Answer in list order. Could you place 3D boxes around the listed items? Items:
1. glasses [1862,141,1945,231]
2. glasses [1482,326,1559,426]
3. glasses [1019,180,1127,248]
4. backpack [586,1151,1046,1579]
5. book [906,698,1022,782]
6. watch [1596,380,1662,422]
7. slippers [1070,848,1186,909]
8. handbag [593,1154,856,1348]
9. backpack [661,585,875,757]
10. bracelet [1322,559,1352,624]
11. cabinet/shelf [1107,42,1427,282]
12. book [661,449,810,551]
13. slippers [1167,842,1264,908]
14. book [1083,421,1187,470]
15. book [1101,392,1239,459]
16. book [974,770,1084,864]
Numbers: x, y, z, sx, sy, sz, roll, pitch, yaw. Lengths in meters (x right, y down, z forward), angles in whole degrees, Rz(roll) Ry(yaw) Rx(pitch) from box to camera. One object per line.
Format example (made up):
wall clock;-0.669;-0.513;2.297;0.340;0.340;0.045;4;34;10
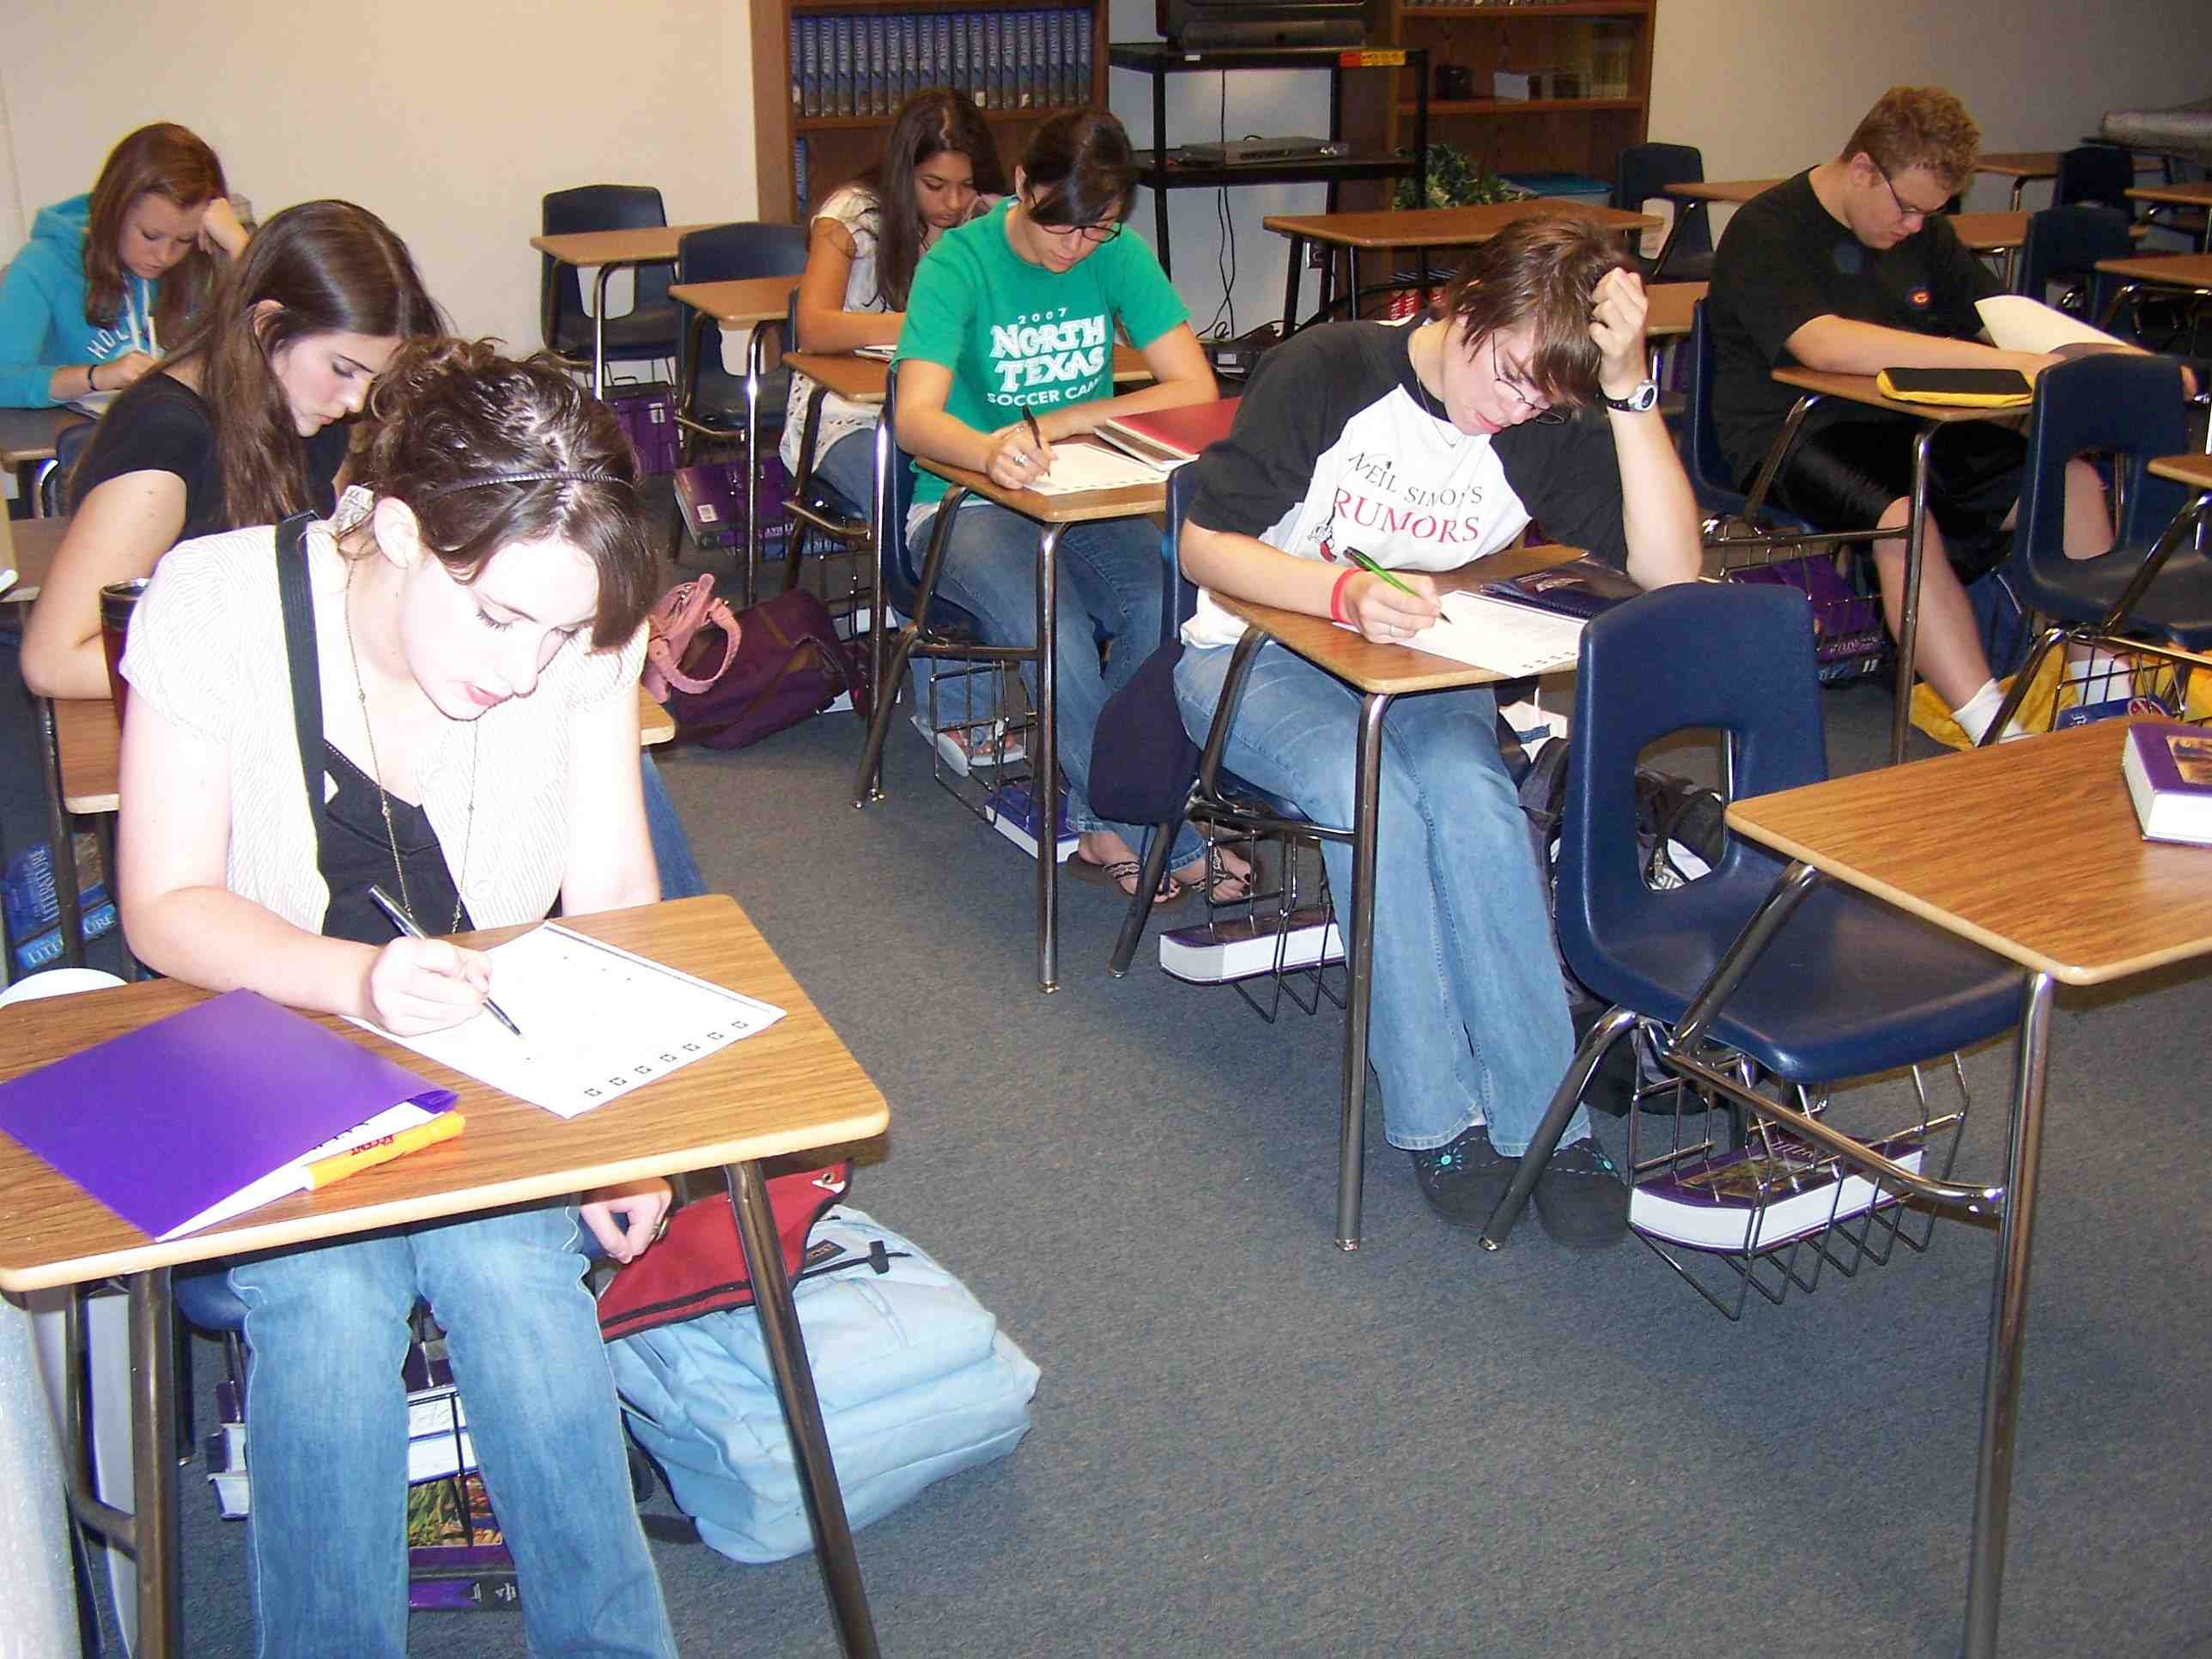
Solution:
glasses;1.822;-1.468;4.480;0.155;0.049;0.161;-1;50;-45
glasses;0.617;-0.672;2.890;0.033;0.109;0.102;-9;-8;26
glasses;-0.059;-1.193;3.815;0.141;0.085;0.143;-3;16;-20
backpack;-0.348;0.680;2.439;0.450;0.243;0.490;-16;45;-23
book;-0.308;-0.200;4.323;0.140;0.061;0.178;-11;26;-33
watch;0.833;-0.682;3.086;0.072;0.052;0.079;2;19;42
slippers;0.039;0.086;3.903;0.185;0.043;0.104;31;53;31
handbag;-0.466;0.516;2.381;0.255;0.078;0.256;-18;39;-25
backpack;-0.800;-0.319;4.618;0.371;0.139;0.380;-23;39;2
bracelet;0.355;-0.345;2.852;0.048;0.065;0.065;1;37;12
cabinet/shelf;0.613;-2.703;7.588;1.181;1.157;0.917;-6;23;-15
book;-1.018;-0.860;5.319;0.321;0.079;0.334;10;55;-11
slippers;0.219;0.084;3.733;0.163;0.055;0.100;-9;34;-43
book;0.055;-0.717;3.643;0.144;0.036;0.156;-4;27;-44
book;0.130;-0.743;3.637;0.222;0.054;0.206;-11;29;-19
book;-0.169;-0.021;4.072;0.132;0.060;0.218;-22;38;-30
